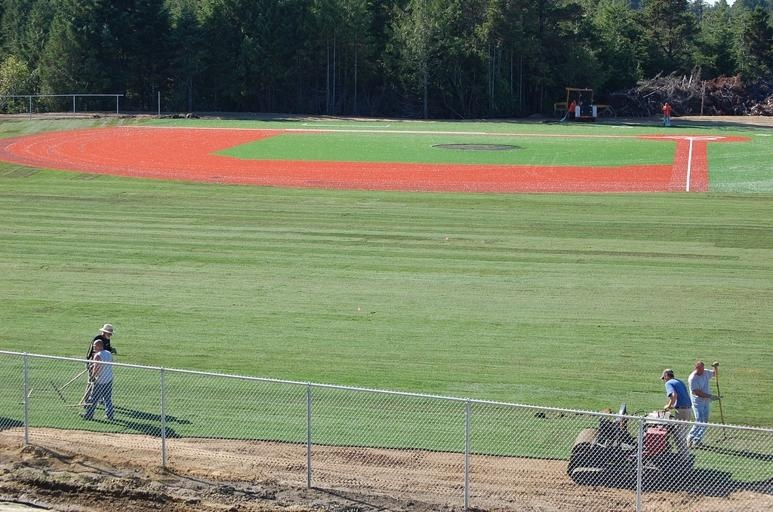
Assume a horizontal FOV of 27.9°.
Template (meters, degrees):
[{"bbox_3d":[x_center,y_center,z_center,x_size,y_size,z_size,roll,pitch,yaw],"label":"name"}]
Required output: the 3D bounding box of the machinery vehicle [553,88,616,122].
[{"bbox_3d":[20.069,-15.693,159.694,5.454,3.721,13.568,1,4,6],"label":"machinery vehicle"}]

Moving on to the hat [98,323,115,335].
[{"bbox_3d":[-15.743,4.143,87.916,0.830,0.367,0.739,13,0,-11],"label":"hat"}]

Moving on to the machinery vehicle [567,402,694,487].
[{"bbox_3d":[13.326,10.526,84.862,6.380,1.842,4.099,0,8,10],"label":"machinery vehicle"}]
